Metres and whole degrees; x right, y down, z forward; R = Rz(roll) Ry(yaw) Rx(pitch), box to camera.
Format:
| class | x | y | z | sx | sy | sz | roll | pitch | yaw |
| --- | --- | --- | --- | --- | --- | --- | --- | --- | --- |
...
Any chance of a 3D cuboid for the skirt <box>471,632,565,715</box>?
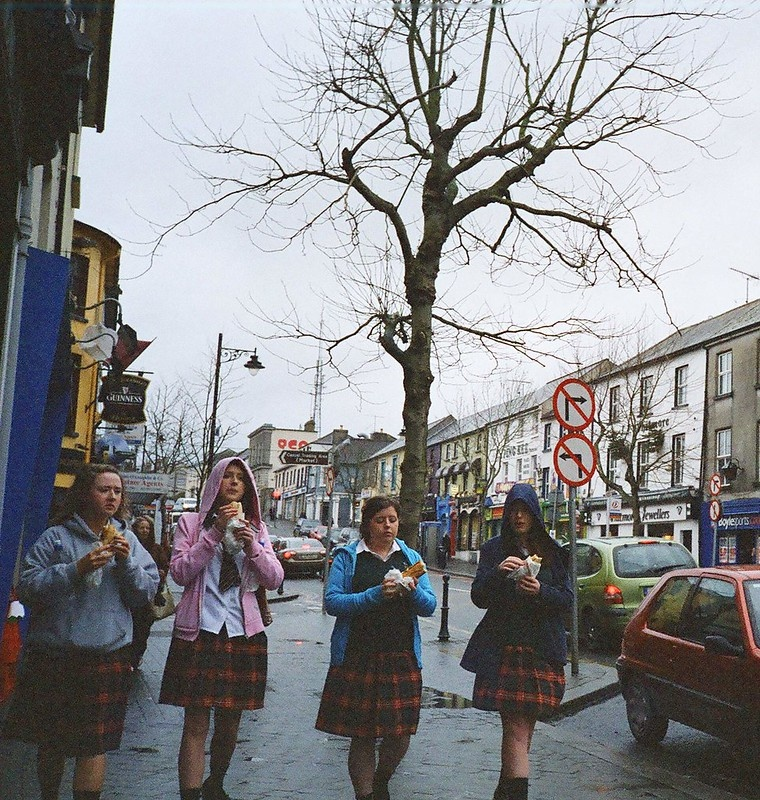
| class | x | y | z | sx | sy | sz | roll | pitch | yaw |
| --- | --- | --- | --- | --- | --- | --- | --- | --- | --- |
| skirt | 0.699 | 1.406 | 4.272 | 0.401 | 0.334 | 0.308 | 0 | 0 | -18 |

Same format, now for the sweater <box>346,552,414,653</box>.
| class | x | y | z | sx | sy | sz | roll | pitch | yaw |
| --- | --- | --- | --- | --- | --- | --- | --- | --- | --- |
| sweater | 0.003 | 0.984 | 4.164 | 0.399 | 0.650 | 0.358 | 3 | -22 | -6 |

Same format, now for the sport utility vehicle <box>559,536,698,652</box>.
| class | x | y | z | sx | sy | sz | roll | pitch | yaw |
| --- | --- | --- | --- | --- | --- | --- | --- | --- | --- |
| sport utility vehicle | 3.748 | 2.831 | 13.482 | 1.556 | 1.503 | 2.883 | 0 | -6 | -9 |

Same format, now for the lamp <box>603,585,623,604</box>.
| class | x | y | z | sx | sy | sz | roll | pitch | yaw |
| --- | --- | --- | --- | --- | --- | --- | --- | --- | --- |
| lamp | 3.462 | 2.899 | 12.508 | 0.179 | 0.298 | 0.273 | 2 | 2 | 23 |

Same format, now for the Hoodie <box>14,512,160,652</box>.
| class | x | y | z | sx | sy | sz | roll | pitch | yaw |
| --- | --- | --- | --- | --- | --- | --- | --- | --- | --- |
| Hoodie | -1.346 | 0.856 | 3.854 | 0.582 | 0.657 | 0.413 | 20 | -37 | -40 |

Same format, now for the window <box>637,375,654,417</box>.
| class | x | y | z | sx | sy | sz | roll | pitch | yaw |
| --- | --- | --- | --- | --- | --- | --- | --- | --- | --- |
| window | 11.558 | -0.182 | 36.607 | 0.576 | 2.068 | 2.252 | 1 | -9 | 17 |

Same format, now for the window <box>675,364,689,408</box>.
| class | x | y | z | sx | sy | sz | roll | pitch | yaw |
| --- | --- | --- | --- | --- | --- | --- | --- | --- | --- |
| window | 12.980 | -0.538 | 36.116 | 0.200 | 2.265 | 1.178 | 9 | -17 | -7 |

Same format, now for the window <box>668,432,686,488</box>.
| class | x | y | z | sx | sy | sz | roll | pitch | yaw |
| --- | --- | --- | --- | --- | --- | --- | --- | --- | --- |
| window | 12.755 | 2.633 | 36.173 | 0.469 | 2.231 | 1.335 | 2 | -8 | 7 |

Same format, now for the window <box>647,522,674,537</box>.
| class | x | y | z | sx | sy | sz | roll | pitch | yaw |
| --- | --- | --- | --- | --- | --- | --- | --- | --- | --- |
| window | 12.390 | 5.767 | 37.281 | 0.955 | 0.620 | 1.814 | 2 | -9 | 12 |
